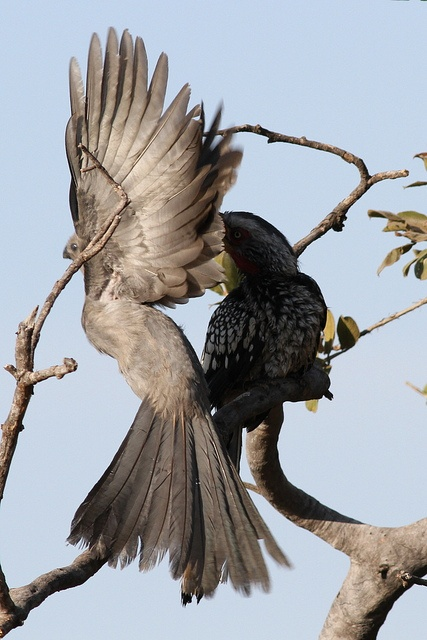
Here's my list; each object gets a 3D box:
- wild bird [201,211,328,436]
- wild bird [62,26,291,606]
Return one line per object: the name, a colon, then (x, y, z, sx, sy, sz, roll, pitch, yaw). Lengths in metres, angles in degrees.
wild bird: (0.131, -0.087, 6.409, 0.372, 1.130, 0.765, 29, -29, -24)
wild bird: (-0.212, -0.047, 5.193, 0.893, 2.368, 0.759, -15, -10, 3)
